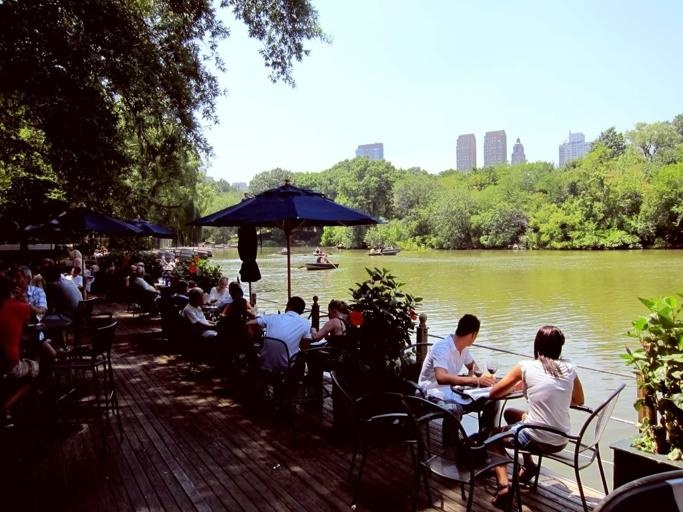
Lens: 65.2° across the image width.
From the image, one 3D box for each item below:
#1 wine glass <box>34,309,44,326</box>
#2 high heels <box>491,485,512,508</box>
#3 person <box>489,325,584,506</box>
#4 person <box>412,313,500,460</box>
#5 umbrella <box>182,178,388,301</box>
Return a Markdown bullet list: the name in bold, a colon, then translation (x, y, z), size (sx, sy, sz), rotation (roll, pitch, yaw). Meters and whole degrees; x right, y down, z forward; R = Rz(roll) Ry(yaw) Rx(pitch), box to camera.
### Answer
- **wine glass**: translation (-4.611, 0.933, 8.109), size (0.128, 0.210, 0.117), rotation (-2, 6, -35)
- **high heels**: translation (1.552, 2.342, 5.188), size (0.106, 0.108, 0.304), rotation (5, -26, -4)
- **person**: translation (1.874, 1.552, 5.190), size (0.847, 1.758, 0.766), rotation (3, 2, 26)
- **person**: translation (1.179, 1.299, 5.701), size (0.802, 1.343, 1.514), rotation (3, 2, 33)
- **umbrella**: translation (-1.030, -0.688, 9.127), size (2.240, 1.861, 2.362), rotation (0, 2, 35)
